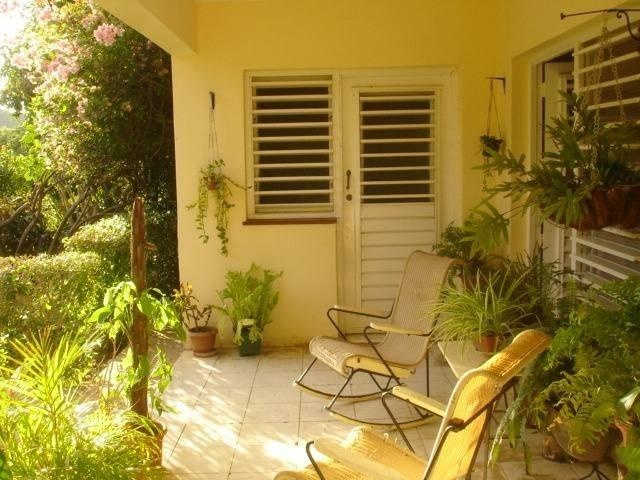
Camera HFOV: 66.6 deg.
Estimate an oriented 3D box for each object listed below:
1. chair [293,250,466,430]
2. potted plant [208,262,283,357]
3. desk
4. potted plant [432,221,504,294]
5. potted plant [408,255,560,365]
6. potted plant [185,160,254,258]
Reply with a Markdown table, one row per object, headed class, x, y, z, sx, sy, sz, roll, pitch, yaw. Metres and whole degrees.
| class | x | y | z | sx | sy | sz | roll | pitch | yaw |
| --- | --- | --- | --- | --- | --- | --- | --- | --- | --- |
| chair | 0.496 | 0.785 | 4.021 | 1.070 | 1.373 | 0.909 | 4 | 0 | -20 |
| potted plant | -0.688 | 0.720 | 5.295 | 0.782 | 1.000 | 0.844 | 0 | -2 | -2 |
| desk | 1.124 | 0.911 | 3.376 | 0.483 | 0.203 | 0.814 | 1 | 5 | 2 |
| potted plant | 1.362 | 0.151 | 4.417 | 0.663 | 0.775 | 0.716 | -1 | -1 | 10 |
| potted plant | 1.333 | 0.479 | 3.679 | 0.810 | 0.637 | 0.867 | 1 | -4 | -4 |
| potted plant | -1.081 | -0.374 | 5.208 | 0.740 | 1.314 | 0.532 | 5 | 12 | 22 |
